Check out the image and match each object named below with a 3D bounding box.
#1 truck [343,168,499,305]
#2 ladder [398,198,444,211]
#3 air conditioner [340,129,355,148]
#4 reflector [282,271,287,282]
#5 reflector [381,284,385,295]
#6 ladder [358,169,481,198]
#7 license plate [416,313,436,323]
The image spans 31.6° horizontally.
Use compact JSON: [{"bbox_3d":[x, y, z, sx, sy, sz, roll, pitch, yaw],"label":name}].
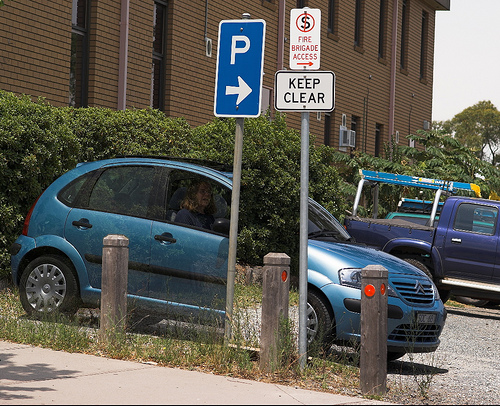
[{"bbox_3d":[2.847,0.507,17.406,4.015,2.805,2.519,2,0,21],"label":"truck"},{"bbox_3d":[3.761,0.035,19.747,0.411,0.227,0.973,4,-2,-38],"label":"ladder"},{"bbox_3d":[3.064,-2.060,28.063,0.401,0.547,0.526,1,-3,33],"label":"air conditioner"},{"bbox_3d":[0.392,0.876,10.450,0.013,0.114,0.103,-4,0,34],"label":"reflector"},{"bbox_3d":[1.530,1.011,10.248,0.016,0.178,0.112,-1,-2,34],"label":"reflector"},{"bbox_3d":[4.013,-0.457,21.136,2.066,0.402,0.392,11,5,16],"label":"ladder"},{"bbox_3d":[2.280,1.497,11.444,0.367,0.133,0.026,4,-3,-42],"label":"license plate"}]
